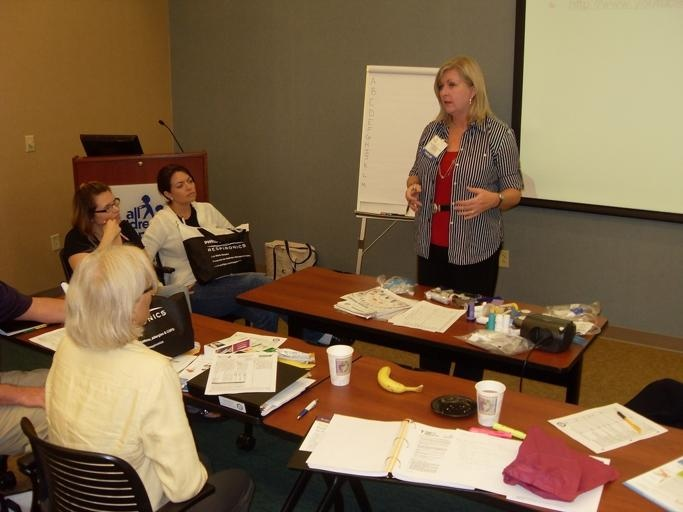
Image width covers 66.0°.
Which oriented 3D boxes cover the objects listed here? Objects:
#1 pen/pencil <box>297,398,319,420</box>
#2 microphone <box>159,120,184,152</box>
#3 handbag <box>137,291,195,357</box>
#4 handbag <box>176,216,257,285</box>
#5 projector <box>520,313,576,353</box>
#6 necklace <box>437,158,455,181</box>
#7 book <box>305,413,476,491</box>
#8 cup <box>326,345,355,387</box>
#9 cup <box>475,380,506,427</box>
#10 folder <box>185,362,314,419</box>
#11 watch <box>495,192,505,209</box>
[{"bbox_3d":[-0.134,0.586,2.026,0.026,0.015,0.126,8,16,20],"label":"pen/pencil"},{"bbox_3d":[-2.002,-1.401,6.125,0.171,0.373,0.267,10,18,37],"label":"microphone"},{"bbox_3d":[-0.788,0.296,2.374,0.248,0.237,0.241,4,8,-26],"label":"handbag"},{"bbox_3d":[-0.953,-0.029,3.883,0.467,0.364,0.116,-5,-13,-40],"label":"handbag"},{"bbox_3d":[0.979,0.301,2.475,0.159,0.160,0.222,-10,14,-43],"label":"projector"},{"bbox_3d":[0.636,-0.540,3.230,0.071,0.115,0.018,26,24,39],"label":"necklace"},{"bbox_3d":[0.112,0.664,1.838,0.417,0.058,0.277,2,16,10],"label":"book"},{"bbox_3d":[0.007,0.445,2.210,0.143,0.173,0.147,0,5,0],"label":"cup"},{"bbox_3d":[0.539,0.529,1.958,0.142,0.165,0.145,1,3,0],"label":"cup"},{"bbox_3d":[-0.382,0.538,2.058,0.222,0.051,0.243,12,19,31],"label":"folder"},{"bbox_3d":[0.939,-0.329,3.143,0.048,0.077,0.077,2,25,1],"label":"watch"}]
